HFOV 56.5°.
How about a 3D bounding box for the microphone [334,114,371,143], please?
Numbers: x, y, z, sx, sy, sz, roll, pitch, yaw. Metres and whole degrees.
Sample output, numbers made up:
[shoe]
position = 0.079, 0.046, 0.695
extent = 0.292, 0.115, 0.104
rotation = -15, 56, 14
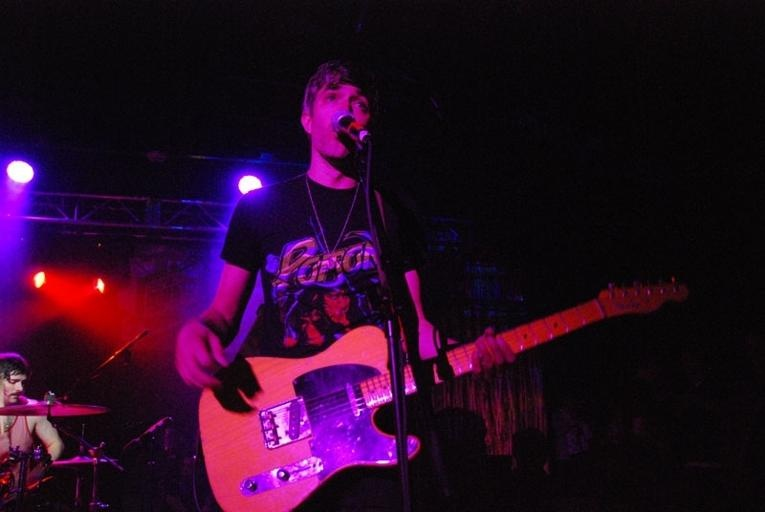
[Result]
[microphone]
position = -0.233, -0.921, 5.090
extent = 0.143, 0.139, 0.310
rotation = 40, -2, -35

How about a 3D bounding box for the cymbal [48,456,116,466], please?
[cymbal]
position = -3.126, 2.128, 7.393
extent = 0.292, 0.067, 0.292
rotation = 2, -9, -9
